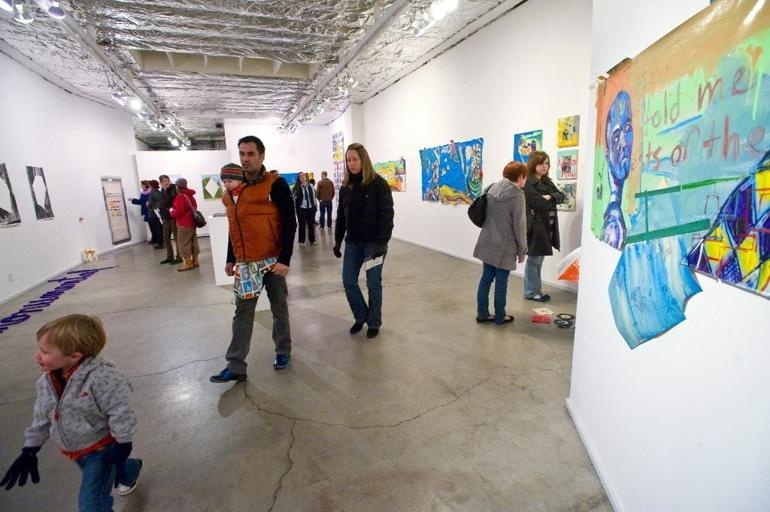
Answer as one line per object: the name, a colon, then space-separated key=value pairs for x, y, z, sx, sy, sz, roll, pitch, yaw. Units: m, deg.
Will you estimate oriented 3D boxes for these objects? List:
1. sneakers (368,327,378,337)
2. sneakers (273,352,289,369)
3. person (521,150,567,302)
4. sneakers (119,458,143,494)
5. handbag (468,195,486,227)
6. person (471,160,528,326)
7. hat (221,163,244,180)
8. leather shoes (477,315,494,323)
sneakers: x=-0.122 y=0.777 z=4.572 sx=0.080 sy=0.081 sz=0.201 roll=0 pitch=-5 yaw=1
sneakers: x=-0.924 y=0.933 z=4.000 sx=0.137 sy=0.124 sz=0.320 roll=1 pitch=-2 yaw=-13
person: x=1.859 y=-0.356 z=5.310 sx=0.403 sy=1.743 sz=0.461 roll=4 pitch=15 yaw=26
sneakers: x=-1.587 y=1.374 z=2.811 sx=0.092 sy=0.234 sz=0.111 roll=8 pitch=-10 yaw=1
handbag: x=0.962 y=-0.465 z=4.606 sx=0.110 sy=0.294 sz=0.222 roll=15 pitch=6 yaw=-13
person: x=1.154 y=-0.106 z=4.564 sx=0.543 sy=1.669 sz=0.398 roll=1 pitch=14 yaw=12
hat: x=-1.220 y=-0.675 z=3.593 sx=0.160 sy=0.126 sz=0.150 roll=-7 pitch=11 yaw=-31
leather shoes: x=1.087 y=0.668 z=4.834 sx=0.184 sy=0.068 sz=0.071 roll=-4 pitch=6 yaw=-14
